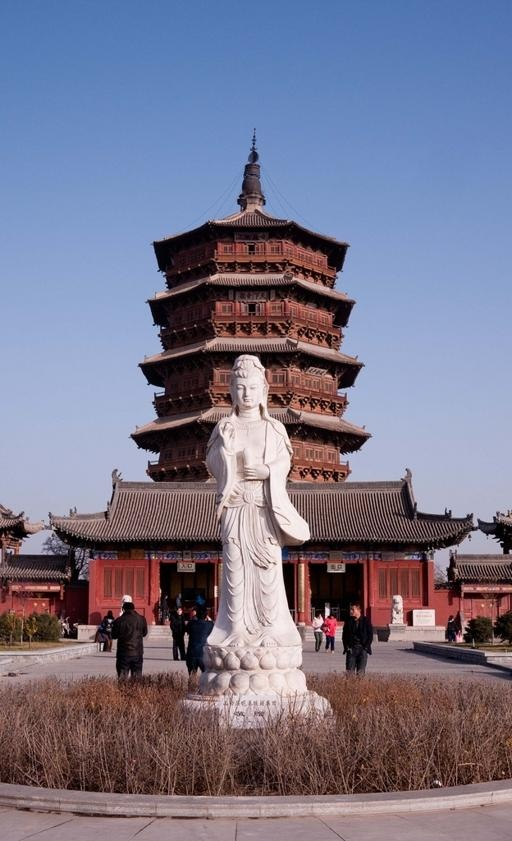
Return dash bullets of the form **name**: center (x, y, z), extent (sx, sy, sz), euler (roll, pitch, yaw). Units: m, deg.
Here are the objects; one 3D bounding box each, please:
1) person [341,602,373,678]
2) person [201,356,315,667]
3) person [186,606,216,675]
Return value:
- **person**: center (1.303, 2.805, 15.546), extent (0.363, 0.870, 1.097), euler (0, -9, 4)
- **person**: center (0.018, 1.007, 11.396), extent (0.899, 2.221, 0.914), euler (1, -8, -2)
- **person**: center (-0.760, 2.904, 16.004), extent (0.315, 0.307, 1.133), euler (-3, -53, -12)
